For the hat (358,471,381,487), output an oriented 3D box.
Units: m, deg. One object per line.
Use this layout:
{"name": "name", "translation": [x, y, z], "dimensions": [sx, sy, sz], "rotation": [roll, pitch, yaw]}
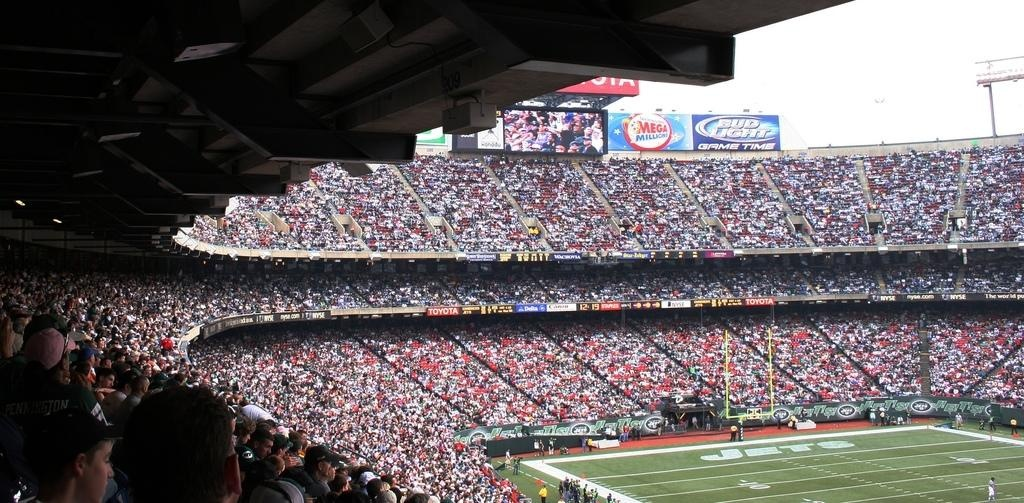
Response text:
{"name": "hat", "translation": [-6.796, 10.573, 53.819], "dimensions": [0.866, 0.366, 0.595], "rotation": [-10, 8, -36]}
